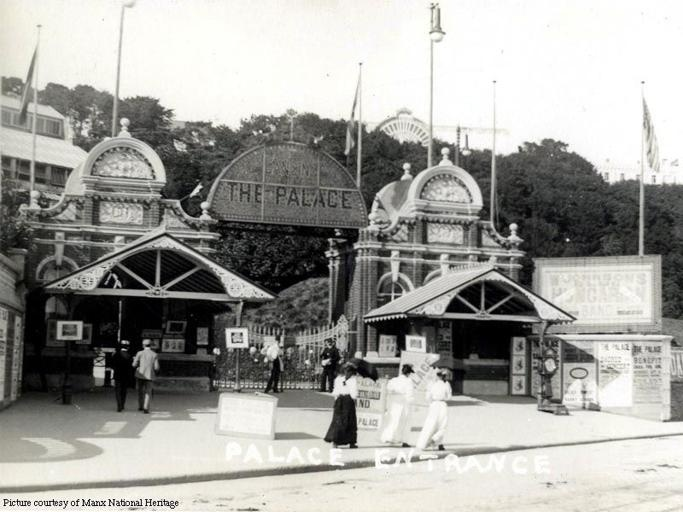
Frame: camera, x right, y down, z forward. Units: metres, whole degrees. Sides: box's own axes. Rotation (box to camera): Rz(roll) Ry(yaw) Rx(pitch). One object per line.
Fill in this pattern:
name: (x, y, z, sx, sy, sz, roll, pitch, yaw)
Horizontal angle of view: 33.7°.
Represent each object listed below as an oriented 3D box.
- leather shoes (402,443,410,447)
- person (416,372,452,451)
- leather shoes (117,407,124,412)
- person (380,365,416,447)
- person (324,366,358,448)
leather shoes: (1.845, 5.410, 32.540, 0.259, 0.117, 0.141, 4, -5, -22)
person: (2.660, 4.403, 32.618, 0.834, 2.308, 1.211, 2, -4, 5)
leather shoes: (-7.097, 4.918, 36.343, 0.147, 0.132, 0.139, 0, -13, -10)
person: (1.641, 4.288, 32.604, 0.638, 2.351, 1.100, 6, -6, -41)
person: (0.052, 4.205, 31.962, 0.831, 2.404, 0.907, 3, -4, 1)
